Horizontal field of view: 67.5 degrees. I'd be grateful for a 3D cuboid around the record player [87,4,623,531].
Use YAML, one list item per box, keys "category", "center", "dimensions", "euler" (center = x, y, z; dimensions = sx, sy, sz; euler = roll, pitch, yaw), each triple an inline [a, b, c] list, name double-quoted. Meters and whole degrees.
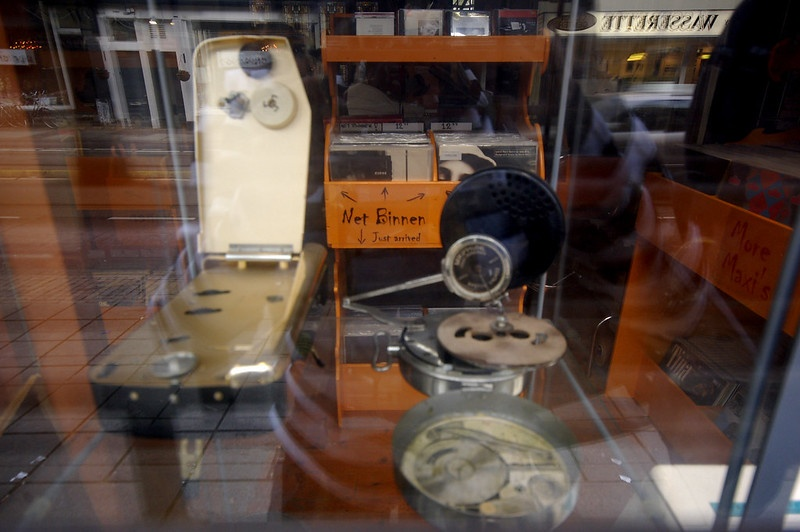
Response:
- category: "record player"
  center: [-0.159, -0.032, 2.102]
  dimensions: [1.649, 1.347, 1.240]
  euler: [-1, 21, -1]
